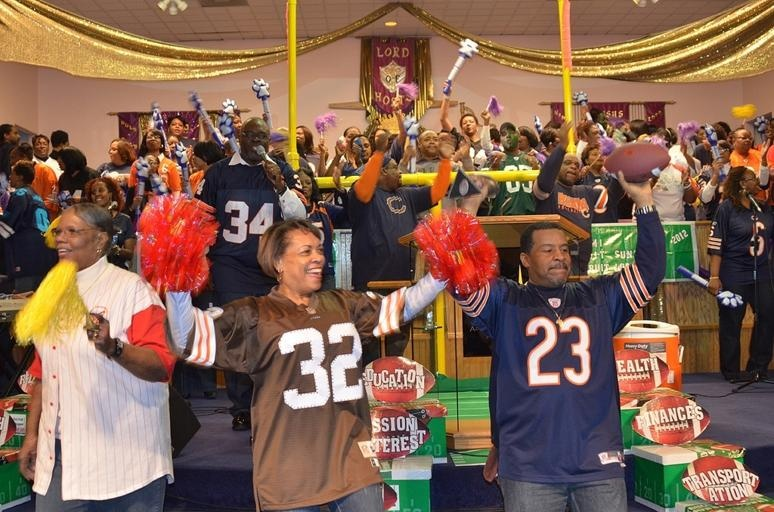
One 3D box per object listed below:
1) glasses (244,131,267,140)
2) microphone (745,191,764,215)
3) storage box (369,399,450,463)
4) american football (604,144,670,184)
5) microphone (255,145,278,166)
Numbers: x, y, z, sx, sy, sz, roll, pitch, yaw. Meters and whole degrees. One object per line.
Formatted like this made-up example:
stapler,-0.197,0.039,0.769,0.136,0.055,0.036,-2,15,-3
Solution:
glasses,-1.003,-0.936,5.657,0.153,0.059,0.044,-2,4,-19
microphone,3.870,-0.576,7.738,0.091,0.340,0.094,-42,19,-26
storage box,0.149,1.241,5.177,0.673,0.444,0.357,0,-8,-5
american football,1.484,-0.572,4.340,0.243,0.175,0.294,-10,-1,39
microphone,-0.931,-0.785,5.637,0.193,0.164,0.195,-1,4,7
